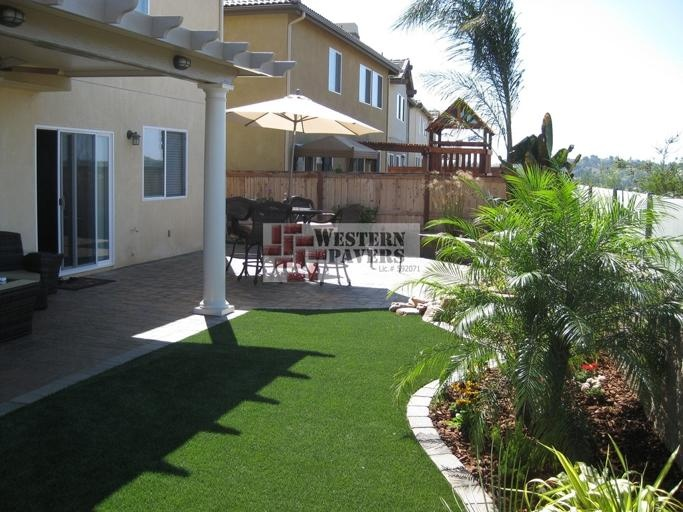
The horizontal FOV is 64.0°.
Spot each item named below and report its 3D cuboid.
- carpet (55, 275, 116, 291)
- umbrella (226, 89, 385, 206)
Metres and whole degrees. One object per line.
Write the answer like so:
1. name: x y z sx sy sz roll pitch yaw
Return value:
1. carpet: -4.859 0.453 10.095 0.927 0.103 1.064 8 12 32
2. umbrella: -1.231 -2.531 12.688 2.712 2.409 3.817 -3 10 -26
